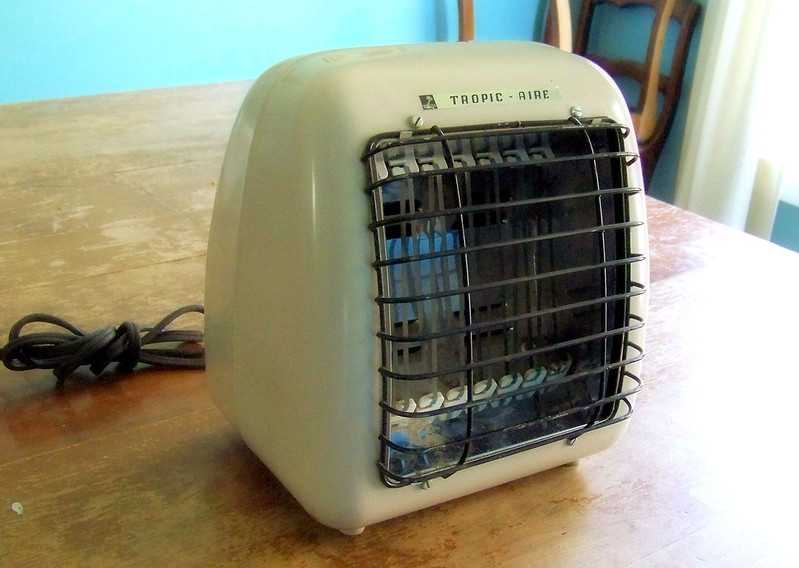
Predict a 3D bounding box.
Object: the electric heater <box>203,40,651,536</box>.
[{"bbox_3d":[0.016,-0.017,0.774,0.388,0.390,0.340,-10,20,-33],"label":"electric heater"}]
